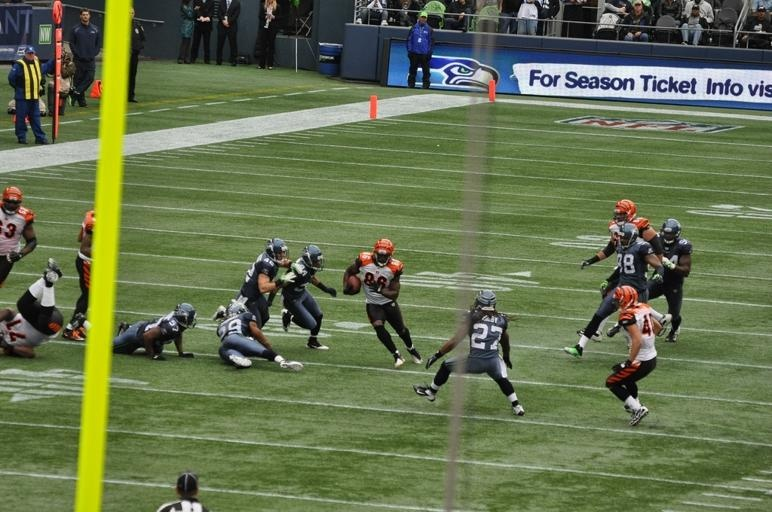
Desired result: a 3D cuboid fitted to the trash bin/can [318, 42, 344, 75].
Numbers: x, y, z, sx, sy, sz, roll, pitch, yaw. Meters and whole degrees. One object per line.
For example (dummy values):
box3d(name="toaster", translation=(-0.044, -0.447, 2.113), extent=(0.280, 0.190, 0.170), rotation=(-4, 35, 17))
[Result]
box3d(name="trash bin/can", translation=(-1.741, -6.198, 51.310), extent=(0.553, 0.997, 1.347), rotation=(-1, 10, -18))

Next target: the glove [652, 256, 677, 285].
box3d(name="glove", translation=(4.834, 0.199, 28.494), extent=(0.469, 0.152, 0.364), rotation=(-40, -11, 23))

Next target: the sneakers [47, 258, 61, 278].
box3d(name="sneakers", translation=(-5.519, 0.164, 27.097), extent=(0.175, 0.317, 0.119), rotation=(-19, 46, -5))

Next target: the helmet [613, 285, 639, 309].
box3d(name="helmet", translation=(3.887, 0.597, 26.262), extent=(0.409, 0.321, 0.312), rotation=(29, 23, 31))

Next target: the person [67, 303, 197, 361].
box3d(name="person", translation=(-4.001, 1.219, 27.490), extent=(1.819, 0.719, 0.977), rotation=(2, 0, 28))

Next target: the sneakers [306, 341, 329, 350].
box3d(name="sneakers", translation=(-1.168, 1.504, 28.145), extent=(0.371, 0.116, 0.127), rotation=(0, 9, 4))

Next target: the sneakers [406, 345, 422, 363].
box3d(name="sneakers", translation=(0.508, 1.628, 27.707), extent=(0.153, 0.392, 0.175), rotation=(-39, 5, 11))

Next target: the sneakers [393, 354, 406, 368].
box3d(name="sneakers", translation=(0.230, 1.729, 27.586), extent=(0.213, 0.199, 0.537), rotation=(-3, -7, 0))

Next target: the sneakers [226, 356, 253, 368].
box3d(name="sneakers", translation=(-2.418, 1.702, 27.340), extent=(0.433, 0.235, 0.244), rotation=(-2, 10, -19))

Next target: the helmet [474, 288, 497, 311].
box3d(name="helmet", translation=(1.634, 0.651, 26.033), extent=(0.350, 0.280, 0.368), rotation=(0, 5, -14))

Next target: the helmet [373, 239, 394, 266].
box3d(name="helmet", translation=(-0.048, -0.135, 27.325), extent=(0.411, 0.405, 0.402), rotation=(8, -34, -9))

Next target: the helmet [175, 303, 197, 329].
box3d(name="helmet", translation=(-3.325, 0.954, 26.952), extent=(0.337, 0.401, 0.231), rotation=(1, 10, -7))

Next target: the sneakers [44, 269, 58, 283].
box3d(name="sneakers", translation=(-5.434, 0.276, 26.333), extent=(0.234, 0.072, 0.182), rotation=(23, 10, 39))

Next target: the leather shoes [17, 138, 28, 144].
box3d(name="leather shoes", translation=(-8.283, -2.663, 37.121), extent=(0.249, 0.084, 0.081), rotation=(7, 30, 20))

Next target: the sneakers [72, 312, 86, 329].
box3d(name="sneakers", translation=(-5.222, 1.051, 27.743), extent=(0.285, 0.167, 0.345), rotation=(12, -32, -36))

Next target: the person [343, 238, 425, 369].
box3d(name="person", translation=(-0.020, 0.738, 27.582), extent=(1.136, 2.155, 0.795), rotation=(-2, 11, -21))

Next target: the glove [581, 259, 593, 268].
box3d(name="glove", translation=(3.652, 0.095, 29.538), extent=(0.209, 0.089, 0.353), rotation=(8, -8, -6))

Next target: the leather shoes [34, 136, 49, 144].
box3d(name="leather shoes", translation=(-7.884, -2.689, 37.336), extent=(0.395, 0.212, 0.106), rotation=(0, 48, -1))

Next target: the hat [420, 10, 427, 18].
box3d(name="hat", translation=(1.083, -6.749, 45.401), extent=(0.207, 0.164, 0.238), rotation=(4, 23, 0))

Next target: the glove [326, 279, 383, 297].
box3d(name="glove", translation=(-0.390, 0.456, 27.561), extent=(0.658, 0.206, 0.272), rotation=(0, -2, 26))

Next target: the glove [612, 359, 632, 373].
box3d(name="glove", translation=(3.771, 1.698, 25.984), extent=(0.228, 0.192, 0.269), rotation=(1, 9, -7))

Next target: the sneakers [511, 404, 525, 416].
box3d(name="sneakers", translation=(2.140, 2.411, 26.227), extent=(0.169, 0.139, 0.227), rotation=(-2, 5, -7))

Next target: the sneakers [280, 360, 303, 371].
box3d(name="sneakers", translation=(-1.561, 1.777, 27.229), extent=(0.404, 0.128, 0.159), rotation=(3, 7, -2))

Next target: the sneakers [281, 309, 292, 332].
box3d(name="sneakers", translation=(-1.712, 1.034, 28.245), extent=(0.246, 0.411, 0.137), rotation=(4, 50, -5))

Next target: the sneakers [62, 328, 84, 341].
box3d(name="sneakers", translation=(-5.317, 1.296, 27.776), extent=(0.427, 0.150, 0.159), rotation=(2, 12, 0))

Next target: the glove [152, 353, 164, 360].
box3d(name="glove", translation=(-3.815, 1.640, 27.395), extent=(0.272, 0.066, 0.163), rotation=(-3, -9, -8))
